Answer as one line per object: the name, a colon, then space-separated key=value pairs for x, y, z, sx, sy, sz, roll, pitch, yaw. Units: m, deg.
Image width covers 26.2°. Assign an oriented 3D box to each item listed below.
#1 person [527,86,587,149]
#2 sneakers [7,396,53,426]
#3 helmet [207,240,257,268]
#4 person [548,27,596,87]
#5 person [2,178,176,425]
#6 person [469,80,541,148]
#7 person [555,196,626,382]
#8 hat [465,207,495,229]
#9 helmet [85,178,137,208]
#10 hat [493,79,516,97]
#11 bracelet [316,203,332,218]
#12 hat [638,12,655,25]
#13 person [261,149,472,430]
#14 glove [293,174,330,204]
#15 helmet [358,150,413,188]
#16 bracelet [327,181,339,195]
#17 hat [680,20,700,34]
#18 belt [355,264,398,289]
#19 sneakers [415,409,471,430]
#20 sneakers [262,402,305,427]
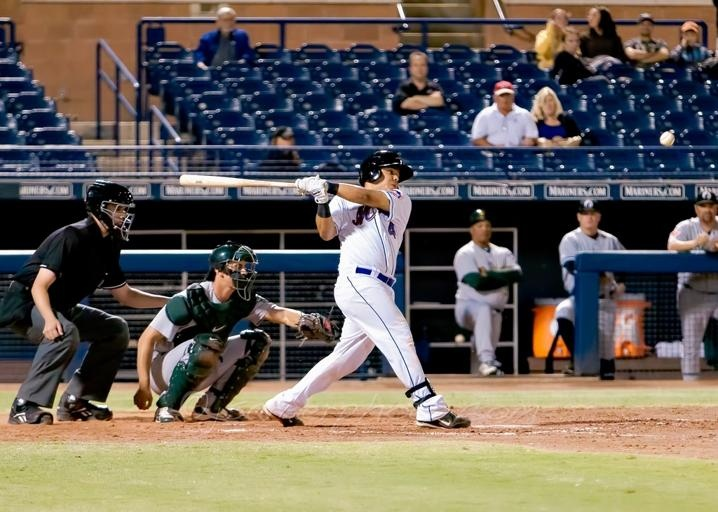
person: x=2.559 y=-1.744 z=20.304 sx=0.751 sy=0.820 sz=0.827 roll=-12 pitch=13 yaw=-12
sneakers: x=-3.091 y=1.444 z=14.475 sx=0.436 sy=0.218 sz=0.191 roll=-1 pitch=1 yaw=-1
helmet: x=-1.183 y=-0.018 z=14.496 sx=0.374 sy=0.199 sz=0.261 roll=10 pitch=-6 yaw=-2
person: x=3.001 y=-2.793 z=21.633 sx=0.571 sy=0.843 sz=0.606 roll=10 pitch=27 yaw=31
person: x=-2.710 y=0.434 z=14.573 sx=1.331 sy=2.010 sz=0.626 roll=-2 pitch=1 yaw=-15
person: x=1.882 y=-1.807 z=20.292 sx=1.088 sy=0.896 sz=0.586 roll=-3 pitch=14 yaw=-29
person: x=2.747 y=0.377 z=18.152 sx=0.733 sy=1.536 sz=0.665 roll=-2 pitch=1 yaw=-13
hat: x=1.458 y=-0.444 z=18.528 sx=0.304 sy=0.078 sz=0.289 roll=-3 pitch=19 yaw=3
helmet: x=-2.364 y=-0.583 z=14.675 sx=0.388 sy=0.256 sz=0.263 roll=20 pitch=0 yaw=-4
hat: x=1.881 y=-2.179 z=20.016 sx=0.223 sy=0.146 sz=0.321 roll=-1 pitch=0 yaw=-3
bracelet: x=-0.323 y=-0.433 z=14.245 sx=0.172 sy=0.162 sz=0.122 roll=0 pitch=-5 yaw=-16
hat: x=4.095 y=-3.374 z=21.962 sx=0.272 sy=0.112 sz=0.372 roll=4 pitch=10 yaw=6
person: x=0.079 y=0.424 z=14.311 sx=1.705 sy=1.970 sz=0.609 roll=-2 pitch=1 yaw=0
glove: x=-0.439 y=-0.625 z=14.351 sx=0.315 sy=0.215 sz=0.422 roll=-1 pitch=0 yaw=-2
helmet: x=0.240 y=-0.826 z=14.575 sx=0.493 sy=0.223 sz=0.287 roll=-4 pitch=-4 yaw=6
bracelet: x=-0.225 y=-0.631 z=14.113 sx=0.126 sy=0.080 sz=0.097 roll=2 pitch=-1 yaw=5
hat: x=4.812 y=-3.319 z=22.327 sx=0.203 sy=0.115 sz=0.259 roll=0 pitch=0 yaw=5
belt: x=0.130 y=0.167 z=14.216 sx=0.244 sy=0.050 sz=0.230 roll=14 pitch=-7 yaw=25
sneakers: x=0.782 y=1.508 z=14.279 sx=0.527 sy=0.167 sz=0.175 roll=1 pitch=-5 yaw=1
sneakers: x=-0.787 y=1.495 z=14.517 sx=0.527 sy=0.189 sz=0.164 roll=5 pitch=6 yaw=-20
